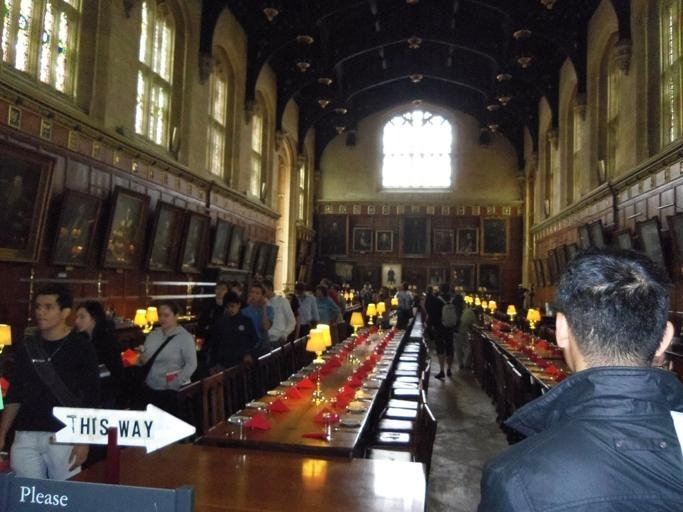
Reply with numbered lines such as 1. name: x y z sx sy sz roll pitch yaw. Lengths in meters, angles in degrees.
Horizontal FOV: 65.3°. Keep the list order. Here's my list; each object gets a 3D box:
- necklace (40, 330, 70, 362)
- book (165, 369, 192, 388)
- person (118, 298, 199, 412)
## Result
1. necklace: -1.921 0.607 3.585 0.126 0.191 0.076 6 -5 -16
2. book: -1.523 1.147 4.977 0.156 0.171 0.039 7 -26 -12
3. person: -1.671 0.978 5.065 0.557 1.114 1.783 1 -6 -21
